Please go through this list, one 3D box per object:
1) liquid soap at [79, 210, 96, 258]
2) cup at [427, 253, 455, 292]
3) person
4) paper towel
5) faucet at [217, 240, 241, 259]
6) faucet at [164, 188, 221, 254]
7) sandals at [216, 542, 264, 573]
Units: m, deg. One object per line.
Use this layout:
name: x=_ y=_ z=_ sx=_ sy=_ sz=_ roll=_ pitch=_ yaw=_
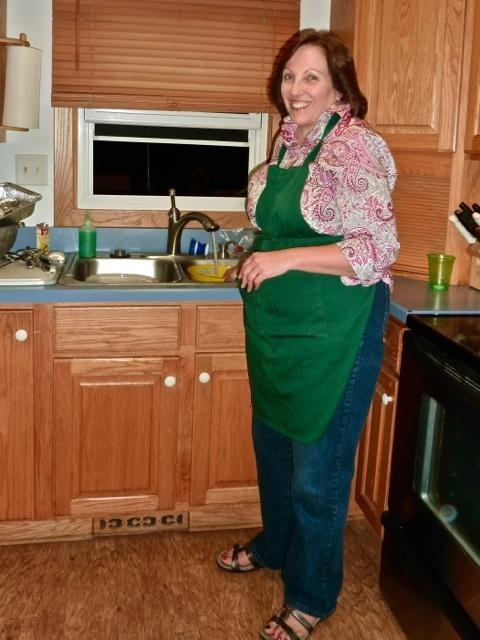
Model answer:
liquid soap: x=-0.561 y=-0.304 z=1.987 sx=0.059 sy=0.160 sz=0.050 roll=0 pitch=8 yaw=-17
cup: x=0.652 y=-0.160 z=1.826 sx=0.114 sy=0.126 sz=0.114 roll=-2 pitch=11 yaw=0
person: x=0.136 y=0.079 z=1.256 sx=0.322 sy=1.431 sz=0.468 roll=-2 pitch=9 yaw=-28
paper towel: x=-0.692 y=-0.726 z=1.710 sx=0.112 sy=0.240 sz=0.110 roll=-1 pitch=9 yaw=-23
faucet: x=-0.041 y=-0.274 z=2.087 sx=0.078 sy=0.045 sz=0.076 roll=-1 pitch=14 yaw=-5
faucet: x=-0.190 y=-0.364 z=2.044 sx=0.168 sy=0.249 sz=0.436 roll=1 pitch=8 yaw=-8
sandals: x=-0.001 y=0.698 z=1.605 sx=0.134 sy=0.049 sz=0.067 roll=4 pitch=22 yaw=1
